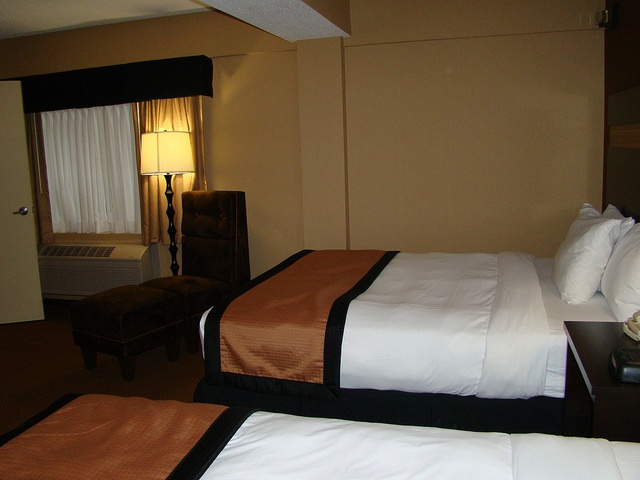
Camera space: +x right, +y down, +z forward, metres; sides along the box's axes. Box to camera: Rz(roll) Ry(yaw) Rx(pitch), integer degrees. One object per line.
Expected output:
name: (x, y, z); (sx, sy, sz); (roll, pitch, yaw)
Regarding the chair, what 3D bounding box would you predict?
chair: (-1.355, 0.307, 4.468); (0.690, 1.484, 1.420); (4, 8, 32)
